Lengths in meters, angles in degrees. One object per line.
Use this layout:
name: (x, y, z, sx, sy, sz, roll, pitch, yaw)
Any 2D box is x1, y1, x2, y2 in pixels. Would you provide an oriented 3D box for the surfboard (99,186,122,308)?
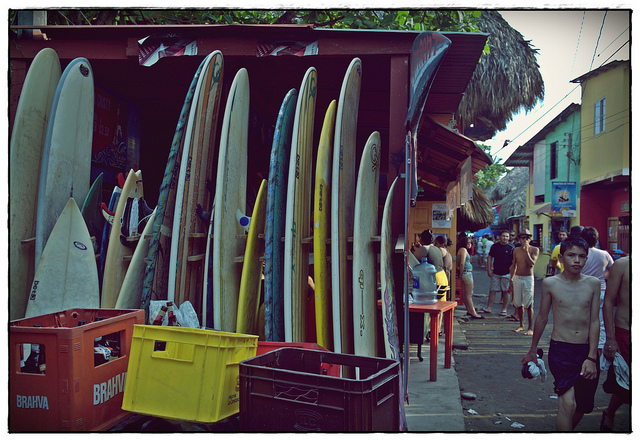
surfboard: (-2.403, 0.285, 7.845, 0.142, 1.418, 0.186, 2, -6, 11)

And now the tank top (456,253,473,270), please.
tank top: (2.646, 0.759, 12.431, 0.201, 0.436, 0.303, 0, 3, 2)

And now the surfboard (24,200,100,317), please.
surfboard: (-2.802, 0.511, 7.644, 0.741, 2.160, 0.240, -2, -40, -14)

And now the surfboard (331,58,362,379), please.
surfboard: (0.266, -0.034, 7.674, 0.325, 2.872, 0.854, 4, 8, 17)

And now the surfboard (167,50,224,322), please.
surfboard: (-1.390, -0.413, 7.789, 0.508, 3.092, 0.609, 1, 3, 5)

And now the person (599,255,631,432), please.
person: (3.196, 1.328, 7.431, 0.341, 1.824, 0.370, -2, -10, 23)

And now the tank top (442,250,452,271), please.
tank top: (2.165, 0.699, 11.572, 0.129, 0.470, 0.158, 4, 16, 10)

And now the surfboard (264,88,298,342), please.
surfboard: (-0.458, -0.103, 7.700, 0.348, 2.842, 0.226, 8, -11, -33)

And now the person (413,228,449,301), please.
person: (1.663, 0.658, 10.260, 0.481, 1.238, 2.057, 0, -11, 10)

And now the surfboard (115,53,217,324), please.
surfboard: (-1.727, -0.379, 7.587, 0.760, 2.957, 0.556, -6, -12, 42)

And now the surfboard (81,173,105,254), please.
surfboard: (-2.713, -0.164, 8.284, 0.265, 1.045, 0.103, -9, 48, -37)

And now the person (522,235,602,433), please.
person: (2.598, 1.179, 7.222, 0.686, 1.959, 0.432, -2, -10, 25)

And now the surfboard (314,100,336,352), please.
surfboard: (0.039, 0.059, 7.633, 0.257, 2.445, 0.394, 2, 6, 8)

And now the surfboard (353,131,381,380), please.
surfboard: (0.563, 0.501, 7.873, 0.251, 2.948, 0.618, -2, 5, -16)

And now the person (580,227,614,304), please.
person: (3.682, 0.696, 9.183, 0.470, 1.316, 0.400, -1, 31, 21)

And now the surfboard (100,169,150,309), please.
surfboard: (-2.249, 0.213, 7.828, 0.422, 1.603, 0.516, 6, 8, 8)

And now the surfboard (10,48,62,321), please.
surfboard: (-3.138, -0.350, 7.791, 0.173, 1.801, 0.410, 24, 18, 15)

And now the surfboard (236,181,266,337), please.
surfboard: (-0.738, 0.439, 7.875, 0.240, 1.683, 0.712, 0, -9, 11)

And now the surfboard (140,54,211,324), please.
surfboard: (-1.658, -0.279, 7.653, 0.467, 2.691, 0.613, 2, 8, 0)
